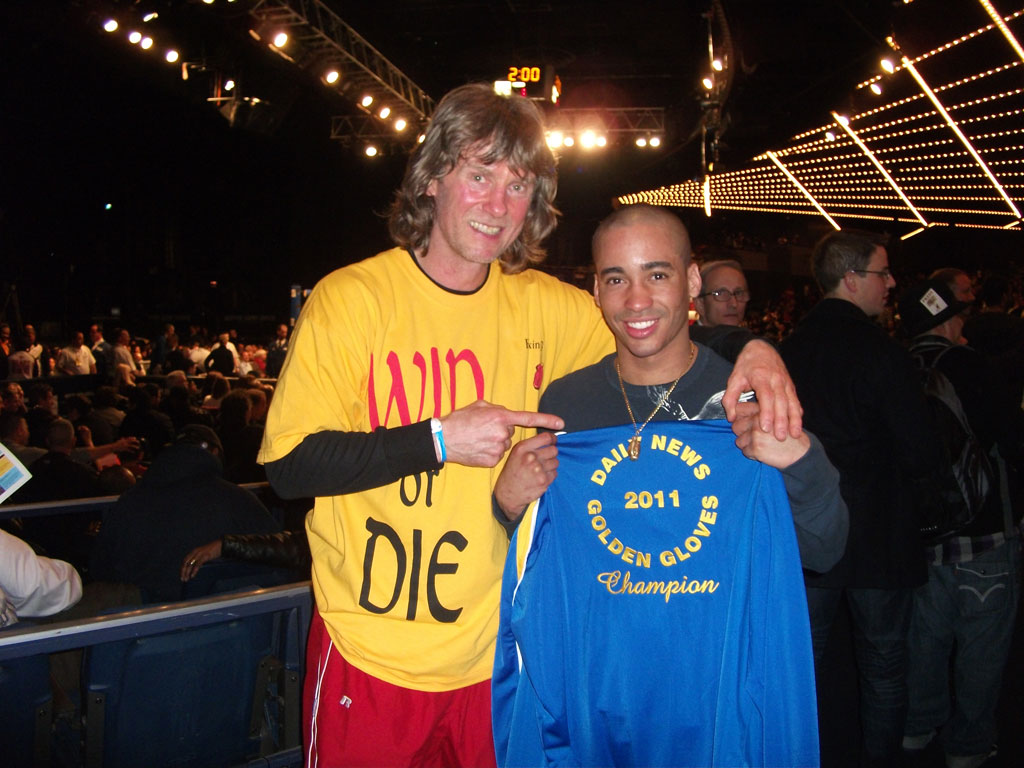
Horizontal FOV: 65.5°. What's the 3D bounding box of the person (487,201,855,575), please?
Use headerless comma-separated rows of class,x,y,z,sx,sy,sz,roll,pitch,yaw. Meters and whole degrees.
person,0.493,0.227,2.869,1.181,1.772,0.915,-4,-10,20

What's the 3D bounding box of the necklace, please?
necklace,0.464,0.064,2.829,0.182,0.324,0.067,14,-34,21

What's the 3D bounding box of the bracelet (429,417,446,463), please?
bracelet,-0.249,0.196,2.704,0.032,0.116,0.079,-9,1,7
